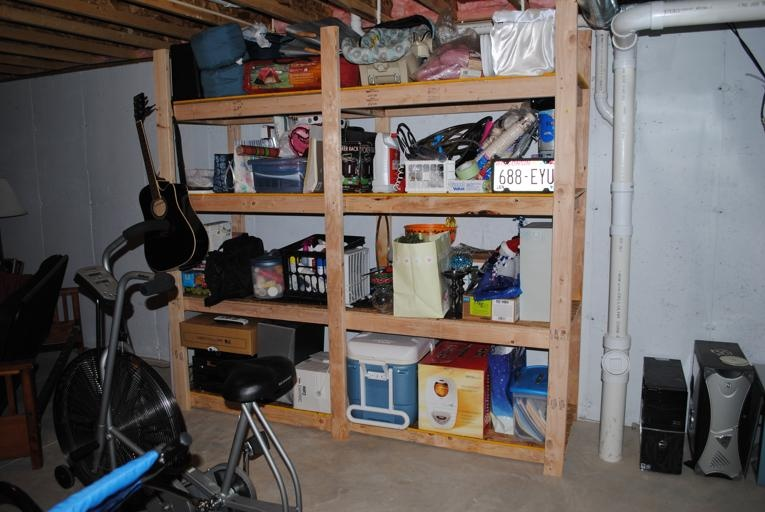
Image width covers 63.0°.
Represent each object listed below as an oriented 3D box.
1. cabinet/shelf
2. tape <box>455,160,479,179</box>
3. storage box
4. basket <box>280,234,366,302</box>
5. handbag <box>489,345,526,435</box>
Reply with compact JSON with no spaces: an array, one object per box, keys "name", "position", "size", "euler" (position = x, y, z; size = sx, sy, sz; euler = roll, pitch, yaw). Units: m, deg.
[{"name":"cabinet/shelf","position":[0.019,-0.125,4.571],"size":[3.364,3.151,1.115],"euler":[1,3,19]},{"name":"tape","position":[0.605,-0.617,4.456],"size":[0.132,0.066,0.136],"euler":[5,32,39]},{"name":"storage box","position":[-0.059,0.300,4.626],"size":[2.183,1.968,0.746],"euler":[1,3,21]},{"name":"basket","position":[-0.454,0.126,4.844],"size":[0.546,0.356,0.559],"euler":[0,4,21]},{"name":"handbag","position":[0.903,0.997,4.554],"size":[0.229,0.631,0.648],"euler":[0,4,15]}]
